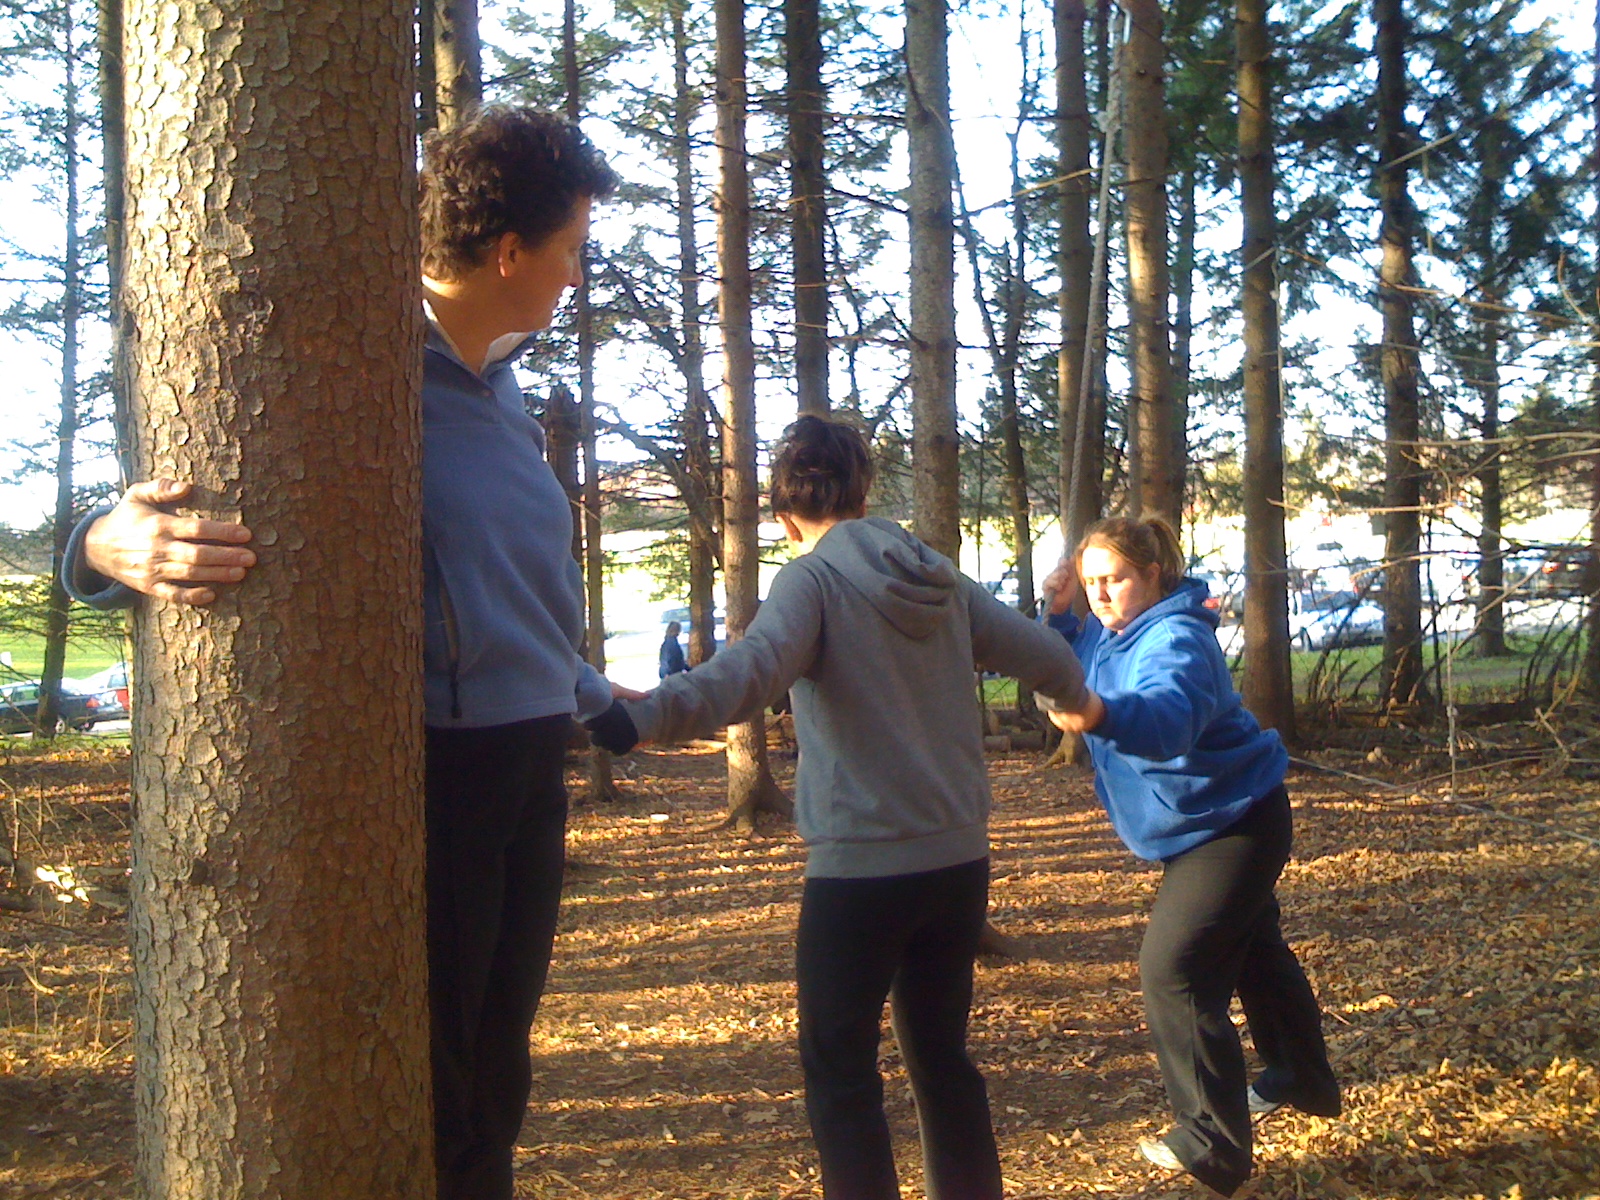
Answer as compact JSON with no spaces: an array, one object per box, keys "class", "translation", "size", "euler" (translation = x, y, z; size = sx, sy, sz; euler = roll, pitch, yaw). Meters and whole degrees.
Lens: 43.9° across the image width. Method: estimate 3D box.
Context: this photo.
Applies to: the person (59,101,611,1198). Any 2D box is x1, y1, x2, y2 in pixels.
[{"class":"person","translation":[-1.278,0.210,7.046],"size":[1.555,3.687,0.389],"euler":[-4,1,-39]}]
